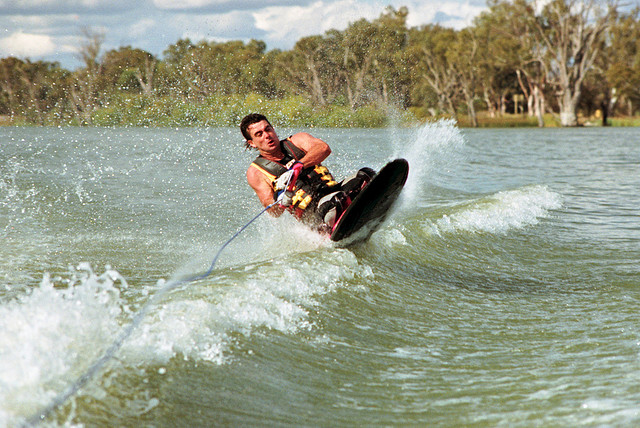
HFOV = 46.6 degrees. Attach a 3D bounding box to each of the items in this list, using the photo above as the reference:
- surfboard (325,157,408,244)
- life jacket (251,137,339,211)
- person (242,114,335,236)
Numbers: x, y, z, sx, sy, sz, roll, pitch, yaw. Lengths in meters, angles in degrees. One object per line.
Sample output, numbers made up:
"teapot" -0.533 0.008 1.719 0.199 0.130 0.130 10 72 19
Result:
"surfboard" 0.688 -0.075 13.388 0.750 0.345 2.435 4 -34 -37
"life jacket" -0.439 -0.741 13.536 1.626 0.941 0.470 36 -2 -2
"person" -0.567 -0.703 13.336 1.591 2.217 0.760 -2 8 -6
